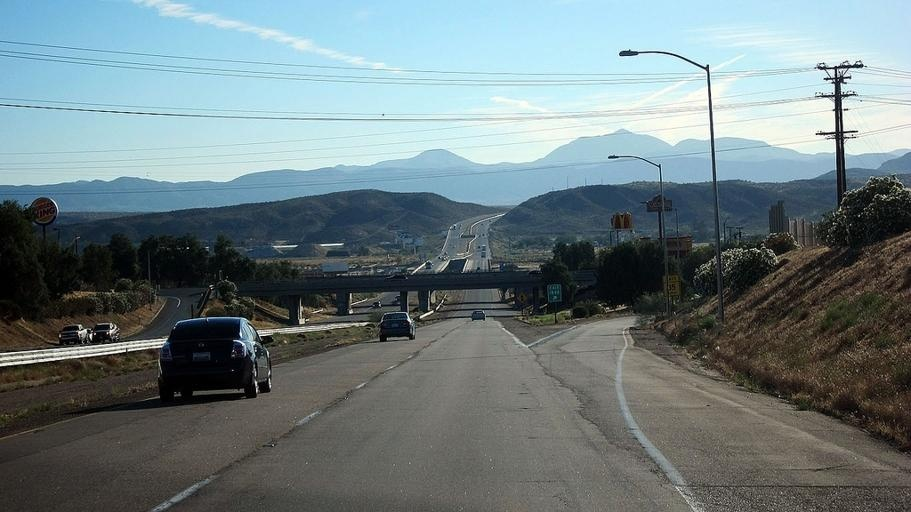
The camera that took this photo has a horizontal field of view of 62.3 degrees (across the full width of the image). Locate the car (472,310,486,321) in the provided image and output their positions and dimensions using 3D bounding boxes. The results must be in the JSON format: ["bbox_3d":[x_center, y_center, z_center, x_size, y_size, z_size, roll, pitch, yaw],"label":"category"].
[{"bbox_3d":[3.174,8.289,105.185,1.572,1.140,3.588,1,6,3],"label":"car"}]

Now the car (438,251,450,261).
[{"bbox_3d":[-3.703,-0.055,233.933,3.411,2.240,4.942,-2,2,-1],"label":"car"}]

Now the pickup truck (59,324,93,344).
[{"bbox_3d":[-34.236,7.047,67.997,1.940,1.373,3.788,0,-5,-2],"label":"pickup truck"}]

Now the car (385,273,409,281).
[{"bbox_3d":[-9.933,3.539,125.055,3.686,0.863,1.446,0,0,-7],"label":"car"}]

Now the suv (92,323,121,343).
[{"bbox_3d":[-33.070,7.654,71.033,2.529,2.130,4.270,-1,7,-26],"label":"suv"}]

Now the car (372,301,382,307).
[{"bbox_3d":[-17.667,10.806,167.482,1.219,0.877,1.987,0,4,2],"label":"car"}]

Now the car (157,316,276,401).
[{"bbox_3d":[-8.587,3.635,26.718,3.668,2.867,2.100,-1,0,-22],"label":"car"}]
